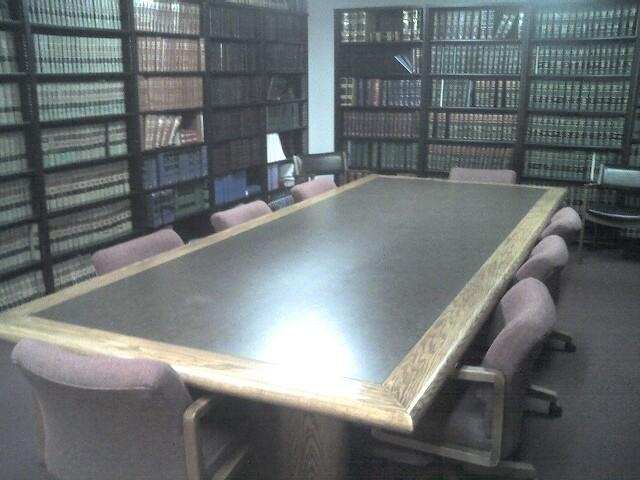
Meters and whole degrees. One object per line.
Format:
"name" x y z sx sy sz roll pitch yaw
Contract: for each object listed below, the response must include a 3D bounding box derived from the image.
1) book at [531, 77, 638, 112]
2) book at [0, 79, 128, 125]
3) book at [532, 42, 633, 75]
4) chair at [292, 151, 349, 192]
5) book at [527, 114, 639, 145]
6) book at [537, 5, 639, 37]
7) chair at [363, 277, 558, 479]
"book" 2.440 -1.363 4.732 0.828 0.281 0.084 6 21 23
"book" -1.701 -0.936 3.352 0.076 0.240 0.979 7 21 25
"book" 2.439 -1.679 4.662 0.819 0.270 0.103 6 21 22
"chair" -0.002 -0.652 4.692 0.353 0.414 0.398 -1 14 -1
"book" 2.448 -1.051 4.802 0.813 0.291 0.066 7 21 25
"book" 2.446 -2.005 4.596 0.833 0.287 0.098 7 21 25
"chair" 0.363 0.348 1.502 0.589 0.518 0.417 6 11 31
